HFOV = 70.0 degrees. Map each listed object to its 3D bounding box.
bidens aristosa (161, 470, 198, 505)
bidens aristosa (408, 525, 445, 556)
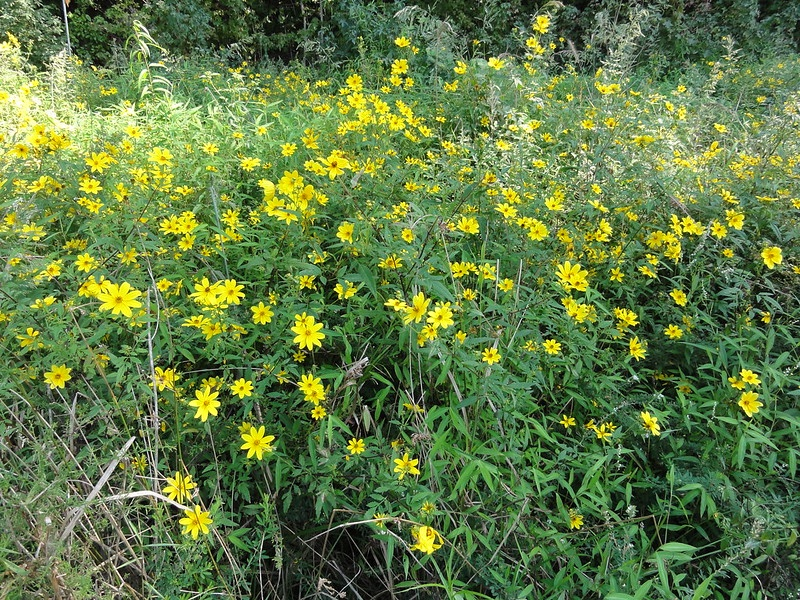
[{"bbox_3d":[-0.888,0.729,2.298,0.154,0.039,0.159,-9,77,-14],"label":"bidens aristosa"},{"bbox_3d":[0.112,0.937,2.277,0.141,0.072,0.144,8,2,7],"label":"bidens aristosa"}]
